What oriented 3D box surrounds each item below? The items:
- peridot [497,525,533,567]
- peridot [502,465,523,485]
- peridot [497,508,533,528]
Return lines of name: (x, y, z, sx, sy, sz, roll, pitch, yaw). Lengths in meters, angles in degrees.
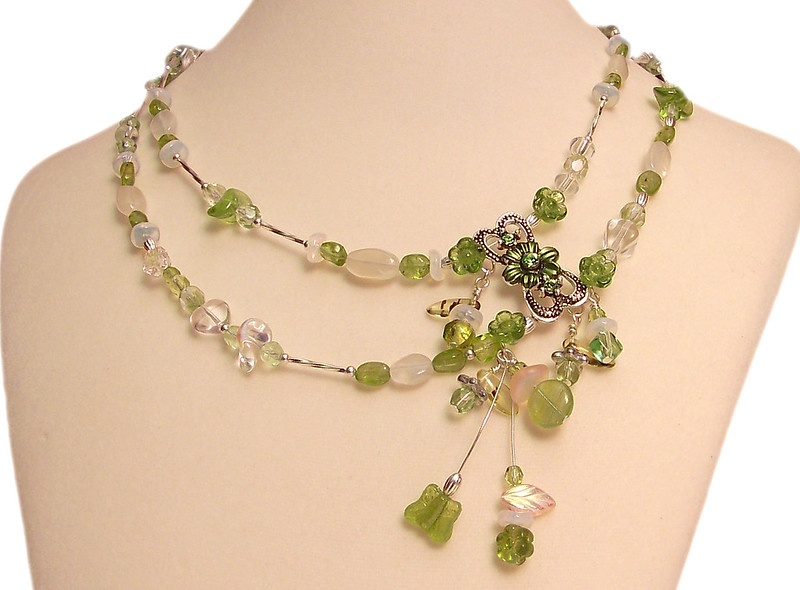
peridot: (0.219, 0.471, 1.489, 0.029, 0.078, 0.073, -12, -3, 4)
peridot: (0.217, 0.342, 1.518, 0.036, 0.035, 0.011, -23, -12, 1)
peridot: (0.214, 0.414, 1.475, 0.053, 0.033, 0.021, 7, -13, 9)
